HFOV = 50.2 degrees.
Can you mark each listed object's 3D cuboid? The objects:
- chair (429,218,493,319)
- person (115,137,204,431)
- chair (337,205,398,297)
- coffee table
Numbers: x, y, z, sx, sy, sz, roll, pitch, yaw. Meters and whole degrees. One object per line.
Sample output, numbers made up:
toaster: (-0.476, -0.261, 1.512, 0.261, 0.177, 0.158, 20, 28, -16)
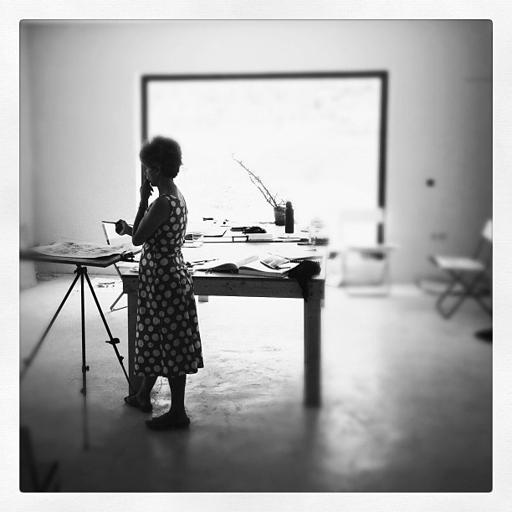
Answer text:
chair: (2.111, 0.135, 5.580, 0.650, 1.087, 0.703, -1, 12, 6)
person: (-0.471, 0.134, 2.642, 0.382, 1.397, 0.425, -2, 9, -15)
chair: (1.225, -0.123, 6.480, 0.762, 1.473, 0.853, 0, 2, 0)
coffee table: (-0.906, 0.258, 2.815, 0.406, 0.557, 0.426, 2, 8, 33)
